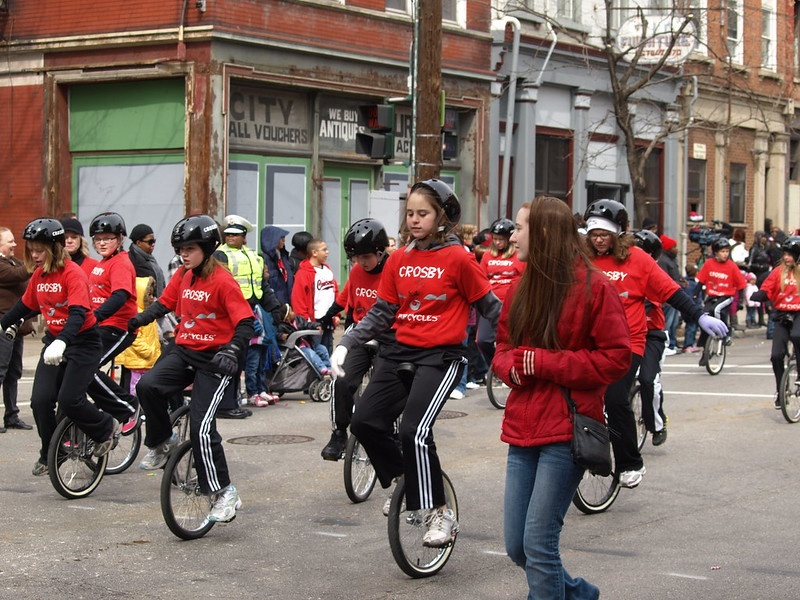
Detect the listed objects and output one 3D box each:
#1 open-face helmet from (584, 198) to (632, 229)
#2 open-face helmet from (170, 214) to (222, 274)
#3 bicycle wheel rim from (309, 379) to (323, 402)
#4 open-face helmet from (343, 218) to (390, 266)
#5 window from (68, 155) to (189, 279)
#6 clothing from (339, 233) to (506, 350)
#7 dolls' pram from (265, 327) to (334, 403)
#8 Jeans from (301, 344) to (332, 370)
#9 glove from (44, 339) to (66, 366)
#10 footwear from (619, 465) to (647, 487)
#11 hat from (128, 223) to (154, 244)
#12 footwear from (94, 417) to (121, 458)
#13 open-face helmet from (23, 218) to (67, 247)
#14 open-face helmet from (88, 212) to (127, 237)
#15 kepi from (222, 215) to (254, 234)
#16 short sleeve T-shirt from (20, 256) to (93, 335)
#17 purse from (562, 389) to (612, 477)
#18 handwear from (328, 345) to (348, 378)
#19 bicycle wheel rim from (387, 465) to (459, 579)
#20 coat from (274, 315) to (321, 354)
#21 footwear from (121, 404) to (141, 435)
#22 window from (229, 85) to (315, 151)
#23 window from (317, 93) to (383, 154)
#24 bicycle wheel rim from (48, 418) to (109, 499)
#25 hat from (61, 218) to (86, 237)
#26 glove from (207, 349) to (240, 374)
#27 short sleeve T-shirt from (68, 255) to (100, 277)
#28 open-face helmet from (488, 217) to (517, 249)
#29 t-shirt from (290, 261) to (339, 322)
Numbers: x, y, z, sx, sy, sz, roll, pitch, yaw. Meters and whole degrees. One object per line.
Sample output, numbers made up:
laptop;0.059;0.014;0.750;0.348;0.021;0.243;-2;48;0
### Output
open-face helmet;1.849;-0.752;9.052;0.332;0.275;0.254;19;-12;-14
open-face helmet;-1.681;-0.452;8.364;0.450;0.484;0.388;-8;3;-44
bicycle wheel rim;-1.160;1.254;14.294;0.089;0.234;0.231;14;42;39
open-face helmet;-0.313;-0.536;9.355;0.294;0.393;0.394;-1;11;28
window;-4.104;-1.356;16.005;2.550;2.675;0.112;-2;-2;22
clothing;0.205;-0.032;7.729;1.232;0.858;0.665;9;-6;-43
dolls' pram;-1.409;0.914;14.411;1.098;1.163;0.809;-2;2;-2
Jeans;-1.146;0.807;14.181;0.135;0.408;0.248;-31;-11;24
glove;-2.986;0.477;8.928;0.148;0.098;0.264;-1;47;-4
footwear;2.078;1.576;9.145;0.119;0.138;0.285;-30;-6;31
hat;-3.207;-0.812;12.615;0.295;0.239;0.232;-10;9;-4
footwear;-2.705;1.283;9.493;0.114;0.346;0.156;29;-9;13
open-face helmet;-3.264;-0.614;9.475;0.225;0.277;0.294;4;0;39
open-face helmet;-2.852;-0.729;10.154;0.277;0.195;0.294;0;5;13
kepi;-2.038;-0.972;13.222;0.325;0.171;0.346;6;4;15
short sleeve T-shirt;-3.194;-0.045;9.636;0.832;0.700;0.349;4;11;30
purse;1.106;0.795;5.997;0.294;0.529;0.225;0;5;-3
handwear;-0.411;0.473;7.534;0.071;0.225;0.168;22;-20;-29
bicycle wheel rim;0.163;1.615;7.350;0.129;0.682;0.603;7;25;39
coat;-1.422;0.461;14.001;0.643;0.493;0.505;-18;3;-5
footwear;-2.594;1.220;10.052;0.110;0.345;0.150;17;-7;38
window;-2.561;-3.579;20.423;2.004;1.197;0.111;-5;7;-44
window;-1.248;-3.656;21.607;0.228;1.175;1.124;4;7;42
bicycle wheel rim;-2.897;1.413;9.243;0.218;0.725;0.647;2;5;19
hat;-3.317;-0.744;10.463;0.189;0.188;0.285;-1;-4;-4
glove;-1.374;0.500;8.089;0.224;0.231;0.352;-1;5;-12
short sleeve T-shirt;-3.134;-0.280;10.254;0.333;0.306;0.175;-3;6;-32
open-face helmet;1.407;-0.904;14.170;0.298;0.391;0.402;-3;15;20
t-shirt;-1.151;-0.080;13.679;0.299;0.710;0.770;8;11;31
